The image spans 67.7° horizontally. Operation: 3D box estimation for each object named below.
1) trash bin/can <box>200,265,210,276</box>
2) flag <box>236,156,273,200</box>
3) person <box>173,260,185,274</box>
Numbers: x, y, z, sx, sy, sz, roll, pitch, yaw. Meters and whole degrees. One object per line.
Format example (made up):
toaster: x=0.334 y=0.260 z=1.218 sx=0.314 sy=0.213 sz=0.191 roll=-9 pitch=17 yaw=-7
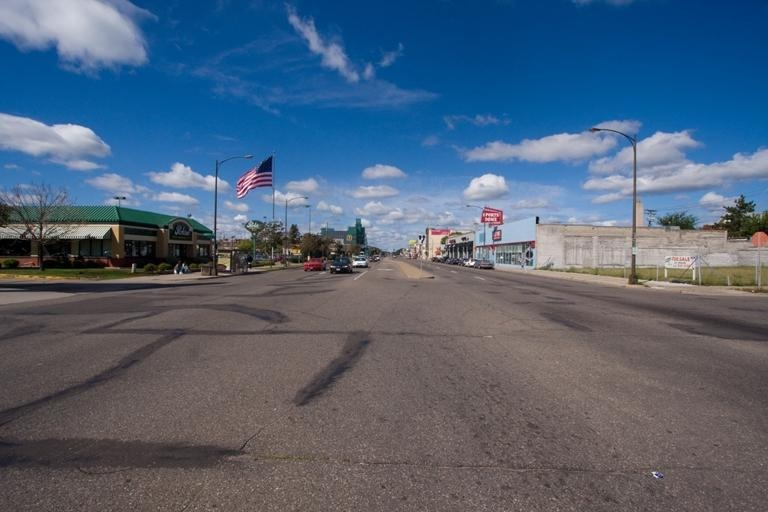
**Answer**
trash bin/can: x=-12.210 y=0.991 z=38.850 sx=0.589 sy=0.733 sz=0.532 roll=2 pitch=9 yaw=4
flag: x=-8.546 y=-5.336 z=37.723 sx=2.653 sy=2.871 sz=0.201 roll=-16 pitch=45 yaw=-25
person: x=-14.739 y=0.817 z=40.901 sx=0.644 sy=1.126 sz=0.540 roll=-27 pitch=-24 yaw=24
